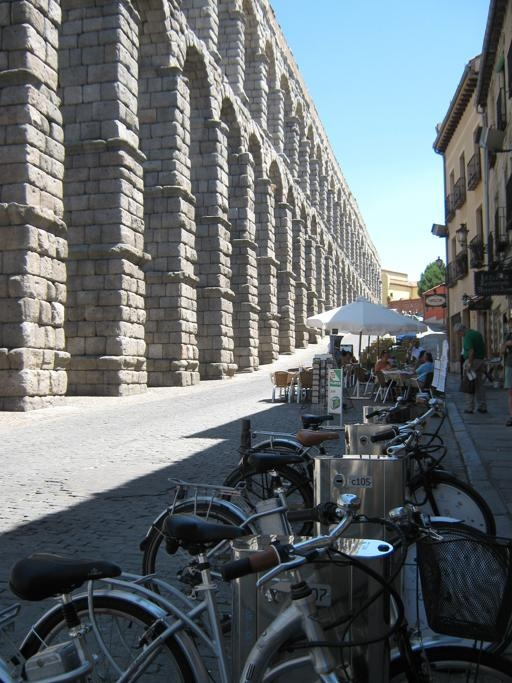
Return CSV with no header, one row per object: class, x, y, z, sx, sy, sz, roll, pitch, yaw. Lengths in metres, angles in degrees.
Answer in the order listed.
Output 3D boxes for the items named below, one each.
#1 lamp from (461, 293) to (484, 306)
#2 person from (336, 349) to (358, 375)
lamp,8.041,-1.567,24.799,0.533,0.280,0.806,0,1,1
person,2.742,0.580,20.073,0.624,0.355,1.245,2,10,6
